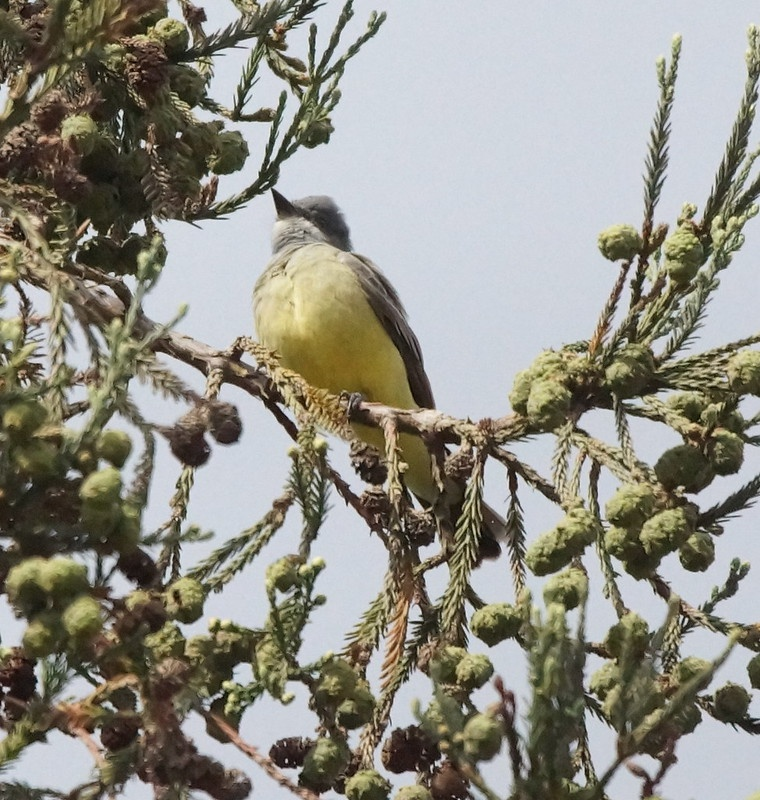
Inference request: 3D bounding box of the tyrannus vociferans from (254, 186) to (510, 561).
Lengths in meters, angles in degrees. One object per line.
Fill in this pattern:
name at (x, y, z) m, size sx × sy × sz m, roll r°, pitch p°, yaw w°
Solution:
tyrannus vociferans at (-0.061, 0.012, 6.654) m, size 0.396 × 0.635 × 1.414 m, roll -23°, pitch -62°, yaw 29°
